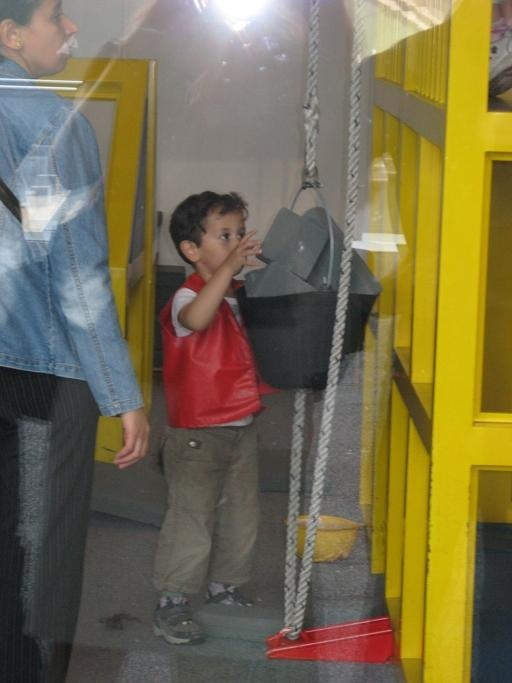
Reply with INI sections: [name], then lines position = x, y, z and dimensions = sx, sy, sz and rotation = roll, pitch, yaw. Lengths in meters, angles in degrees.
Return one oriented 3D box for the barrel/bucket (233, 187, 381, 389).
[barrel/bucket]
position = 0.054, -0.066, 1.014
dimensions = 0.199, 0.257, 0.231
rotation = 3, 3, 6
